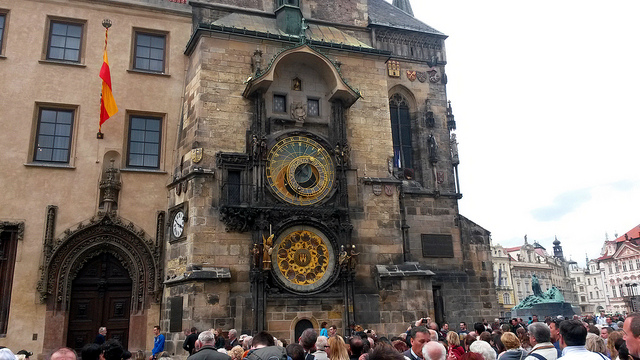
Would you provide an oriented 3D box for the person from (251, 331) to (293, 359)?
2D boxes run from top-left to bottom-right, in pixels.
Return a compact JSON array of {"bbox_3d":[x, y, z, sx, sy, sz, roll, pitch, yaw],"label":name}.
[{"bbox_3d":[-1.964,5.893,18.783,1.019,0.662,1.209,9,-14,-6],"label":"person"}]

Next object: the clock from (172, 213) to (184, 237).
[{"bbox_3d":[-7.942,2.521,29.410,0.240,1.347,1.147,9,-23,-33],"label":"clock"}]

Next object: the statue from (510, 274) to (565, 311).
[{"bbox_3d":[15.946,8.159,38.050,3.426,1.800,3.149,-9,-9,1],"label":"statue"}]

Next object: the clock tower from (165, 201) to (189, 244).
[{"bbox_3d":[-7.971,2.440,29.504,0.405,2.052,2.236,17,-29,-37],"label":"clock tower"}]

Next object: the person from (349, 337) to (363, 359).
[{"bbox_3d":[1.393,6.319,19.690,0.504,0.779,0.367,-10,-21,16],"label":"person"}]

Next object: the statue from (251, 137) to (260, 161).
[{"bbox_3d":[-3.602,-1.747,29.701,0.267,1.284,0.398,12,-26,-38],"label":"statue"}]

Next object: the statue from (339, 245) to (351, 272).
[{"bbox_3d":[1.384,4.456,29.673,0.443,1.455,0.482,14,-27,-41],"label":"statue"}]

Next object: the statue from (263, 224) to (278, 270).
[{"bbox_3d":[-2.797,3.607,28.679,0.579,2.450,0.557,0,-21,-14],"label":"statue"}]
